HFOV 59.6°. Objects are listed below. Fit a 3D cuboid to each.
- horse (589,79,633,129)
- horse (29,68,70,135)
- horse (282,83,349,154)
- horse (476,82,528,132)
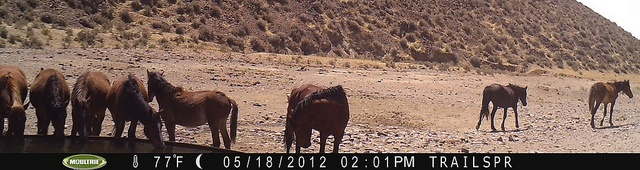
[{"bbox_3d":[40.975,3.215,81.926,8.267,7.356,4.124,4,3,-20],"label":"horse"},{"bbox_3d":[-36.856,2.338,76.751,5.249,9.401,2.015,-1,-17,9],"label":"horse"},{"bbox_3d":[-0.345,4.157,76.281,8.153,8.516,3.022,0,-16,2],"label":"horse"},{"bbox_3d":[26.108,3.248,80.745,6.726,6.848,3.130,0,-16,4],"label":"horse"}]
